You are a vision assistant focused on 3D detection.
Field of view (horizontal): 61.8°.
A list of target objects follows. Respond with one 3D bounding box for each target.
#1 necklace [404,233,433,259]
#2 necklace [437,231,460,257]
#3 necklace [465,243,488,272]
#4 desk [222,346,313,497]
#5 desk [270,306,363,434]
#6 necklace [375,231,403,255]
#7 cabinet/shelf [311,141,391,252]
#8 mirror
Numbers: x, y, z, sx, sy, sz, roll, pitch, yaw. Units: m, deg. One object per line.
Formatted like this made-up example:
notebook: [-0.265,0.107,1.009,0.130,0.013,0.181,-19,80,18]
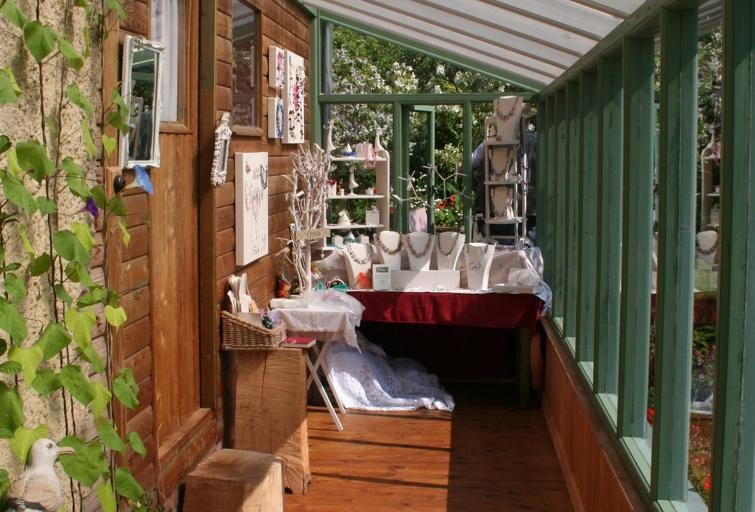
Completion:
necklace: [0.393,-0.093,6.137,0.205,0.201,0.223,1,-1,0]
necklace: [0.692,-0.146,6.085,0.272,0.325,0.163,2,5,24]
necklace: [0.936,0.011,5.957,0.187,0.270,0.234,2,1,9]
desk: [-0.835,1.326,4.687,0.587,0.683,1.051,12,39,-21]
desk: [-0.551,0.933,5.591,0.799,0.906,0.923,-1,4,5]
necklace: [0.115,-0.130,6.227,0.176,0.195,0.226,0,-2,4]
cabinet/shelf: [-0.332,-1.048,9.353,0.880,1.229,6.074,-1,9,-2]
mirror: [-1.265,-0.812,3.369,0.149,0.662,0.432,0,7,0]
